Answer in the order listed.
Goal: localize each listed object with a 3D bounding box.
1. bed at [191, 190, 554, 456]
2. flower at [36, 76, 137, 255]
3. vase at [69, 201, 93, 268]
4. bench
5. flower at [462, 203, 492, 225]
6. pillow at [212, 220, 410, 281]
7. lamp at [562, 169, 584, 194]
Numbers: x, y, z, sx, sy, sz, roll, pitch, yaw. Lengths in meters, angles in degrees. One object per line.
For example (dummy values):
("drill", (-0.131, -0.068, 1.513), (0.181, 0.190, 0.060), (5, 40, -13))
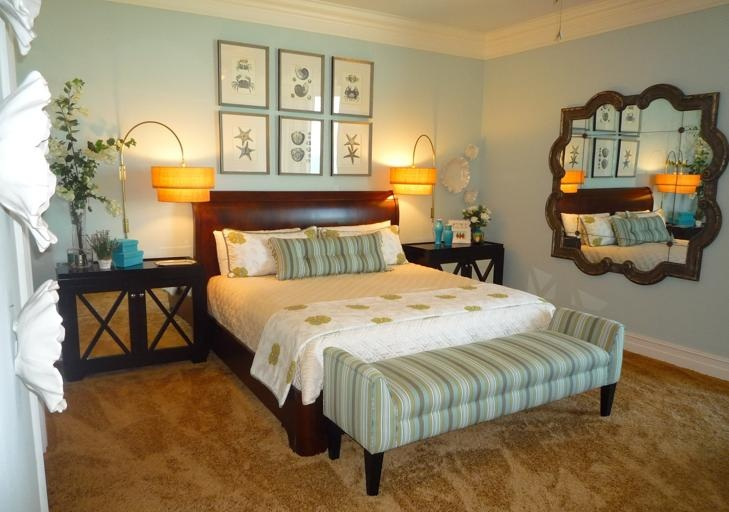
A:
("bed", (-0.439, 0.020, 4.330), (2.183, 1.467, 2.044), (-6, 10, -35))
("flower", (-2.353, -0.774, 4.264), (0.571, 1.468, 0.578), (-7, 13, -32))
("vase", (-2.362, -0.188, 4.167), (0.117, 0.523, 0.195), (-7, 13, -32))
("bench", (0.765, 0.916, 3.358), (2.038, 0.792, 0.428), (-4, 12, -24))
("flower", (1.343, -0.480, 5.968), (0.266, 0.244, 0.278), (5, 6, 8))
("pillow", (-0.495, -0.086, 5.009), (1.916, 0.425, 0.542), (-5, 12, -25))
("lamp", (2.247, -0.804, 5.411), (0.209, 0.179, 0.215), (0, 4, -16))
